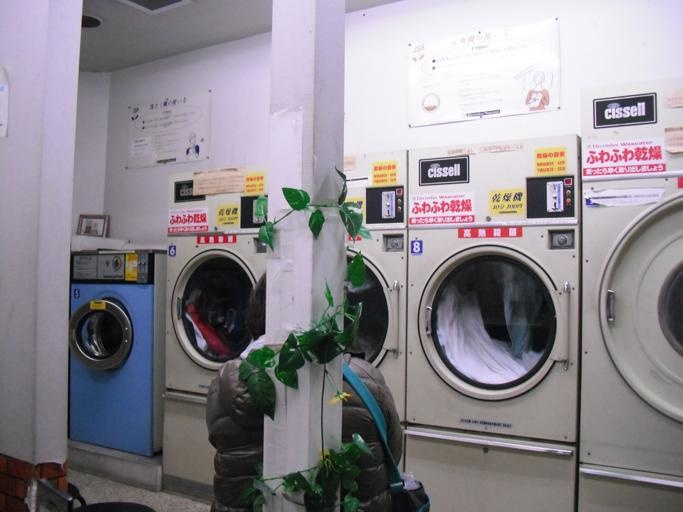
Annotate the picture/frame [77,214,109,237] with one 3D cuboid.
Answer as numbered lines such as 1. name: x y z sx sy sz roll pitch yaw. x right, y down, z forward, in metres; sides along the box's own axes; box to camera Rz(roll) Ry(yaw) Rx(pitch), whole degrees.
1. picture/frame: -2.183 -0.267 4.675 0.194 0.201 0.022 0 -15 -8
